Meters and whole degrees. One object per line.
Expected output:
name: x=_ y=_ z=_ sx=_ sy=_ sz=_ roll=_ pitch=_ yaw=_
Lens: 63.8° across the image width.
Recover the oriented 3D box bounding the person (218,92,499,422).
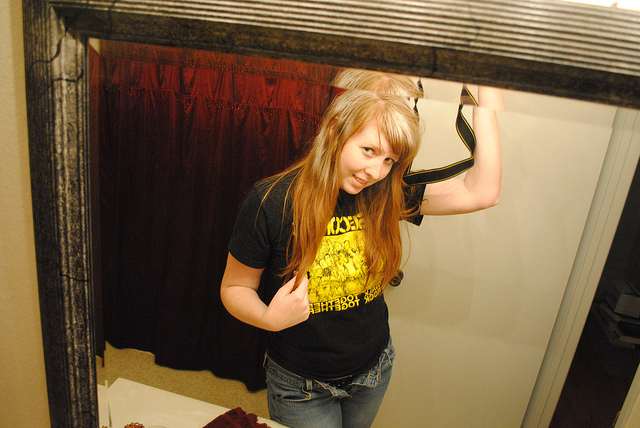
person: x=0.072 y=0.156 z=1.245 sx=0.613 sy=0.888 sz=0.142 roll=9 pitch=16 yaw=12
